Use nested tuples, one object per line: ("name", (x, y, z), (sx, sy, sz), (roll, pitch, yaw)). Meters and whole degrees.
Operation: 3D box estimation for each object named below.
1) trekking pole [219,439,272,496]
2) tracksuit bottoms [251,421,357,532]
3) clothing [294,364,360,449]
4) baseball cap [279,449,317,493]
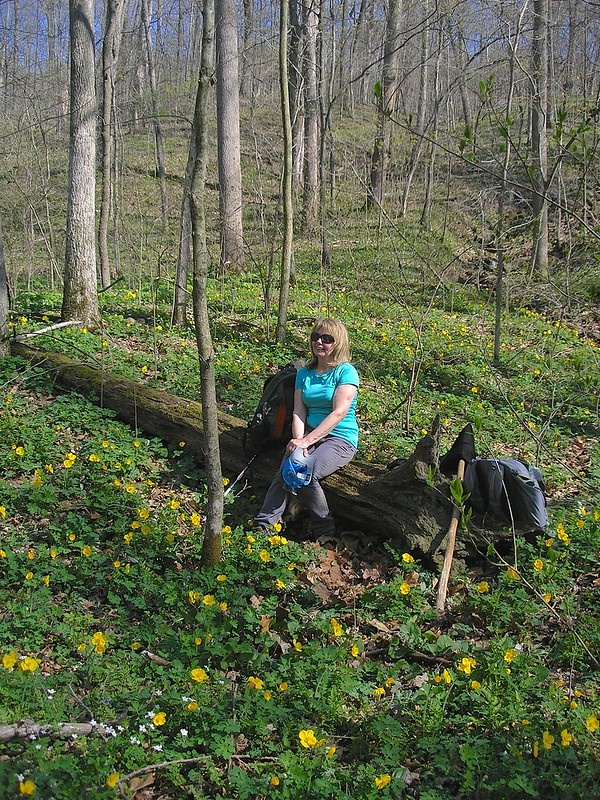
("trekking pole", (-0.360, 0.461, 5.019), (0.047, 0.475, 0.067), (28, -19, 31))
("tracksuit bottoms", (0.064, 0.522, 4.671), (0.436, 0.659, 0.216), (8, -15, 18))
("clothing", (0.163, 0.051, 4.765), (0.537, 0.632, 0.350), (2, 0, 23))
("baseball cap", (-0.017, 0.417, 4.479), (0.193, 0.265, 0.097), (9, -8, 22))
